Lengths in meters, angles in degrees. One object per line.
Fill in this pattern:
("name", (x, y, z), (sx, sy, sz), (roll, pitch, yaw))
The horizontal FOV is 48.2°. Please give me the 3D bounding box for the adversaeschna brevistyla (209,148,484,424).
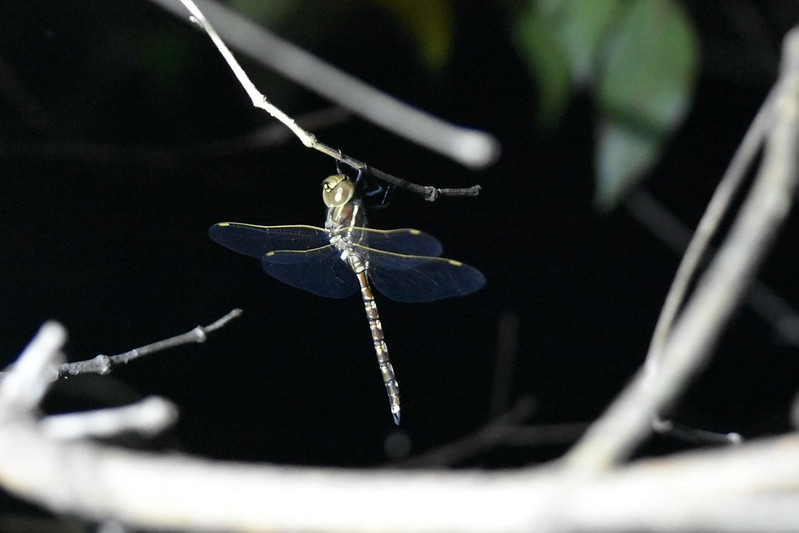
("adversaeschna brevistyla", (-0.069, -0.032, 1.355), (0.453, 0.367, 0.194), (-2, 15, 7))
